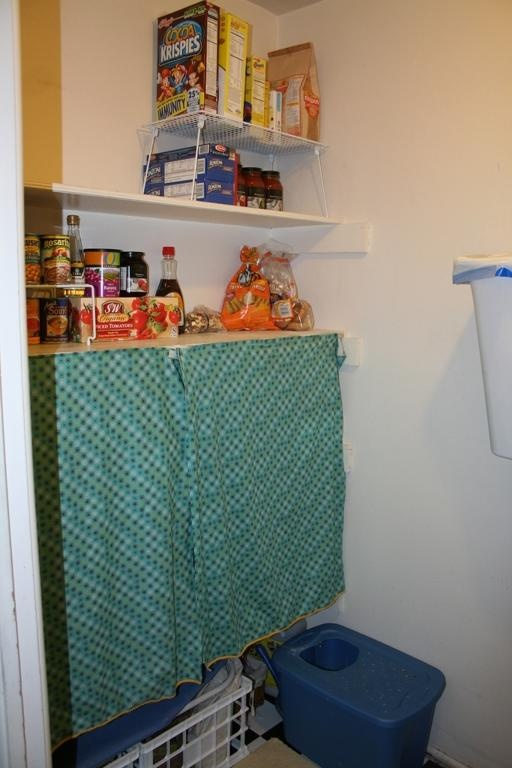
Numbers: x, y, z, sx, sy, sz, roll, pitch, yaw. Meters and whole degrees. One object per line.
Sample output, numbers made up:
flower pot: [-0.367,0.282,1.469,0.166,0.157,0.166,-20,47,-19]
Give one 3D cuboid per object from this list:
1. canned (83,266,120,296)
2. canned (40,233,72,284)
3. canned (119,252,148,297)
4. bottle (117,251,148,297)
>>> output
canned: [-0.328,-0.223,1.340,0.060,0.074,0.064,3,10,4]
canned: [-0.408,-0.253,1.271,0.058,0.097,0.052,1,5,-20]
canned: [-0.274,-0.258,1.481,0.062,0.099,0.095,0,-1,-4]
bottle: [-0.282,-0.250,1.436,0.062,0.099,0.095,0,-1,-4]
